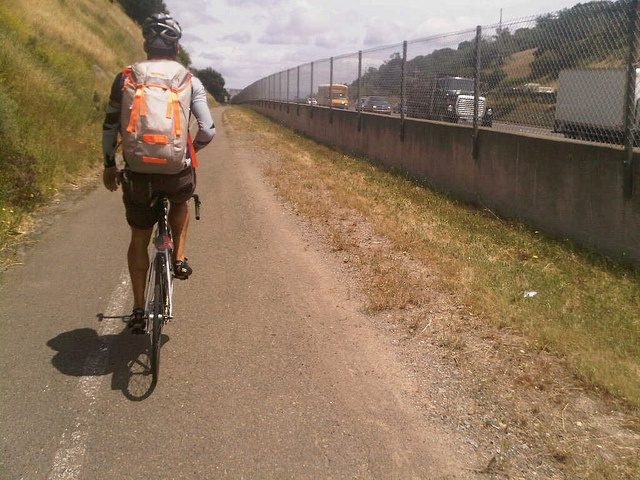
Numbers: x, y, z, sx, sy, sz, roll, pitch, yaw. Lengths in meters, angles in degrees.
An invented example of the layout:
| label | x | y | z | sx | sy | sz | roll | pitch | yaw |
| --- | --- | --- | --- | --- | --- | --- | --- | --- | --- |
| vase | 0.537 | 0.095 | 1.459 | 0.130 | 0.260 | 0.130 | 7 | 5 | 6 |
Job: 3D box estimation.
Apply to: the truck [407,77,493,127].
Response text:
| label | x | y | z | sx | sy | sz | roll | pitch | yaw |
| --- | --- | --- | --- | --- | --- | --- | --- | --- | --- |
| truck | 3.174 | -3.238 | 12.683 | 0.999 | 1.257 | 3.141 | -9 | 19 | -36 |
